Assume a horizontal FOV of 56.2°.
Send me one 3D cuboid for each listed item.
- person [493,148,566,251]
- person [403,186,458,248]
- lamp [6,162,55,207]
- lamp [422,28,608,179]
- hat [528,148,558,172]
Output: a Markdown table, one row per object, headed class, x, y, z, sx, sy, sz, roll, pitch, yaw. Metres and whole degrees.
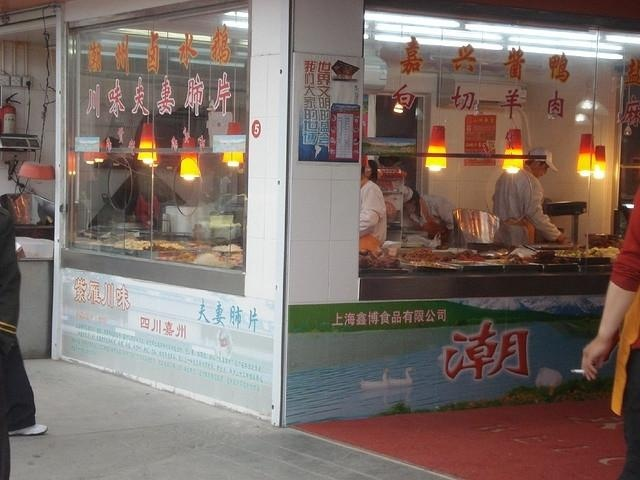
| class | x | y | z | sx | sy | sz | roll | pitch | yaw |
| --- | --- | --- | --- | --- | --- | --- | --- | --- | --- |
| person | 2.522 | -0.470 | 7.190 | 0.492 | 1.431 | 0.852 | -8 | 16 | -27 |
| person | 1.292 | -0.249 | 7.209 | 0.815 | 0.564 | 0.440 | 26 | -2 | -18 |
| lamp | -3.832 | -0.727 | 7.875 | 0.605 | 0.592 | 0.581 | 5 | -1 | 19 |
| lamp | 2.147 | -1.537 | 6.553 | 1.277 | 1.227 | 0.693 | 0 | 5 | -20 |
| hat | 2.622 | -0.945 | 7.106 | 0.305 | 0.170 | 0.196 | 23 | 1 | -23 |
